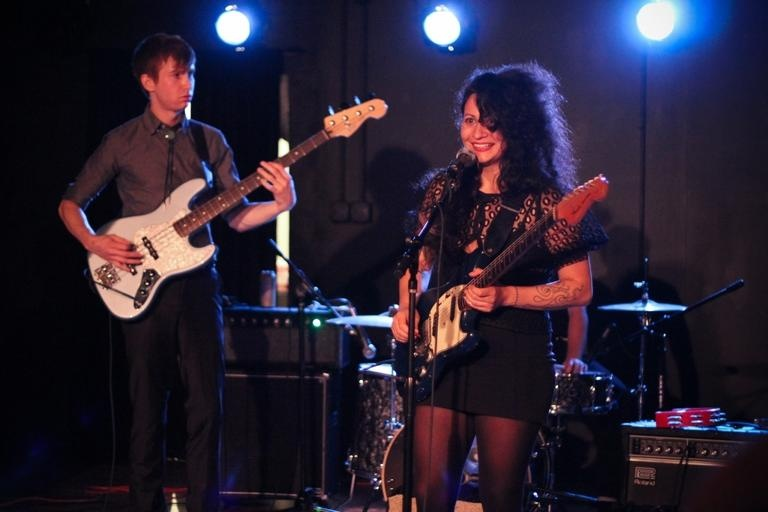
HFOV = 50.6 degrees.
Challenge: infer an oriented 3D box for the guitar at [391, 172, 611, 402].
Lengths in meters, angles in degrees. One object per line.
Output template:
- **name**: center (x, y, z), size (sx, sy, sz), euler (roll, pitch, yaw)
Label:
- **guitar**: center (0.925, 0.149, 5.080), size (0.309, 0.969, 2.566), euler (17, 16, 29)

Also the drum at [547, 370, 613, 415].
- **drum**: center (1.455, 0.997, 5.750), size (0.499, 0.313, 0.494), euler (-3, -9, -1)

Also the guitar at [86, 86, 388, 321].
- **guitar**: center (-1.140, -0.087, 5.480), size (2.716, 0.905, 0.322), euler (-32, -15, 4)

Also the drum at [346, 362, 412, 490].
- **drum**: center (0.045, 1.265, 6.065), size (0.615, 0.843, 0.625), euler (2, -9, 0)

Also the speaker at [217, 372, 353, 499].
- **speaker**: center (-0.671, 1.188, 6.295), size (1.054, 1.160, 0.791), euler (1, 1, 5)

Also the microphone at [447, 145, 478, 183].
- **microphone**: center (0.420, -0.493, 4.426), size (0.088, 0.317, 0.088), euler (24, -33, 23)
